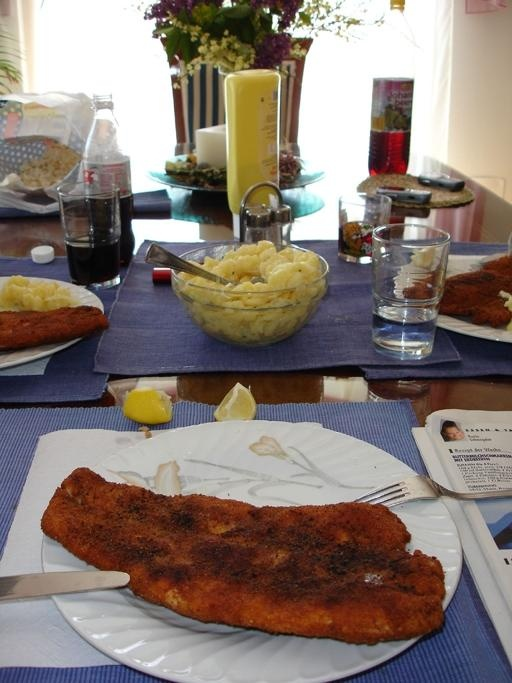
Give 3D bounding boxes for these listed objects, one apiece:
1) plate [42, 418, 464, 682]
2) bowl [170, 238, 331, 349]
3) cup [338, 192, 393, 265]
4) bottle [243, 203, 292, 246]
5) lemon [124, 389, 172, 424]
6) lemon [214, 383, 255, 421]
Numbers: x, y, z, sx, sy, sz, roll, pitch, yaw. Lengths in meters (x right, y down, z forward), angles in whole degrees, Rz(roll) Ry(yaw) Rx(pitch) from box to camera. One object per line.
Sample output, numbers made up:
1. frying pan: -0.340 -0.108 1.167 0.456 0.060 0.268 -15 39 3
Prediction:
1. plate: -0.022 0.148 0.502 0.357 0.030 0.324 -3 24 -6
2. bowl: -0.010 -0.067 0.870 0.217 0.112 0.215 -2 24 1
3. cup: 0.209 -0.207 1.238 0.110 0.118 0.117 -2 -6 0
4. bottle: 0.040 -0.215 1.113 0.046 0.073 0.079 9 1 -24
5. lemon: -0.122 0.075 0.670 0.049 0.014 0.041 12 44 5
6. lemon: -0.022 0.070 0.692 0.043 0.014 0.035 -23 50 2
